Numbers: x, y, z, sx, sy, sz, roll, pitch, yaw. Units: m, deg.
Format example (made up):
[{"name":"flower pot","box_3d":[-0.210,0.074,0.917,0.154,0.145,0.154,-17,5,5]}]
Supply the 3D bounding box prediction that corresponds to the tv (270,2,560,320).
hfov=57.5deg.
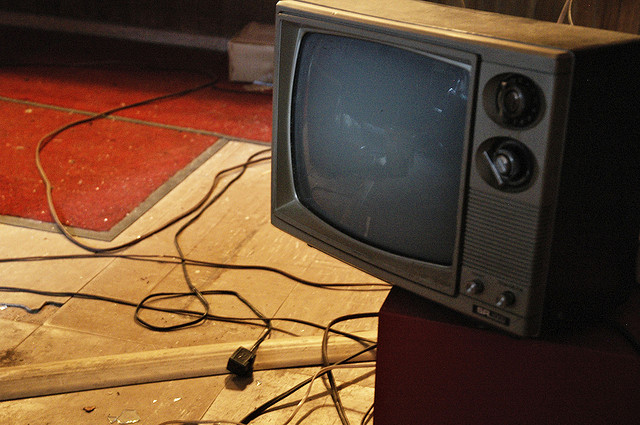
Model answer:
[{"name":"tv","box_3d":[0.213,-0.132,1.256,0.620,0.551,0.329,23,35,34]}]
